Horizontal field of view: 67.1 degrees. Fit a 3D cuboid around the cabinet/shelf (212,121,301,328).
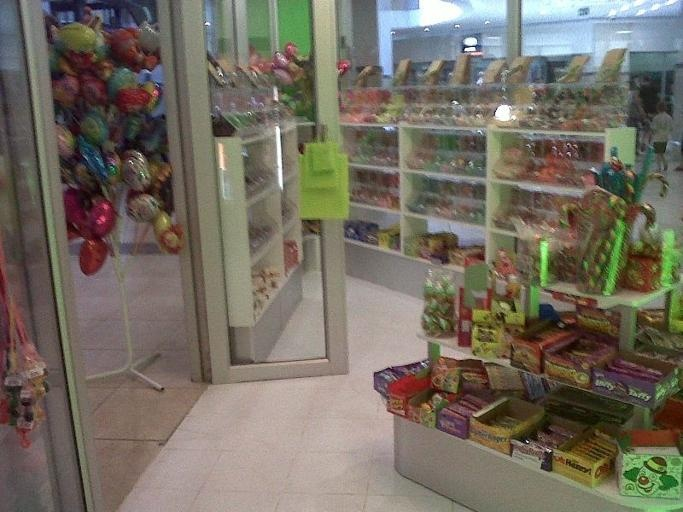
[{"bbox_3d":[-0.642,-0.291,3.760,0.340,1.597,1.098,5,15,25],"label":"cabinet/shelf"}]
